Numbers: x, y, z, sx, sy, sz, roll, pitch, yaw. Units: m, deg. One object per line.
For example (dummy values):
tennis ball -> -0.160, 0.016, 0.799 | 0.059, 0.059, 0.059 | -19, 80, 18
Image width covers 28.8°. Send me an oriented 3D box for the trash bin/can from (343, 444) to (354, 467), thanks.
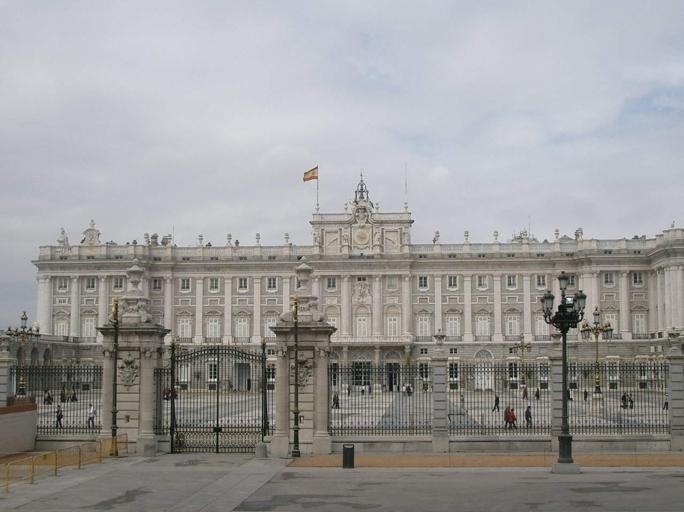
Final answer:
trash bin/can -> 0.227, 8.679, 57.501 | 0.500, 1.012, 1.006 | 0, -10, -2
